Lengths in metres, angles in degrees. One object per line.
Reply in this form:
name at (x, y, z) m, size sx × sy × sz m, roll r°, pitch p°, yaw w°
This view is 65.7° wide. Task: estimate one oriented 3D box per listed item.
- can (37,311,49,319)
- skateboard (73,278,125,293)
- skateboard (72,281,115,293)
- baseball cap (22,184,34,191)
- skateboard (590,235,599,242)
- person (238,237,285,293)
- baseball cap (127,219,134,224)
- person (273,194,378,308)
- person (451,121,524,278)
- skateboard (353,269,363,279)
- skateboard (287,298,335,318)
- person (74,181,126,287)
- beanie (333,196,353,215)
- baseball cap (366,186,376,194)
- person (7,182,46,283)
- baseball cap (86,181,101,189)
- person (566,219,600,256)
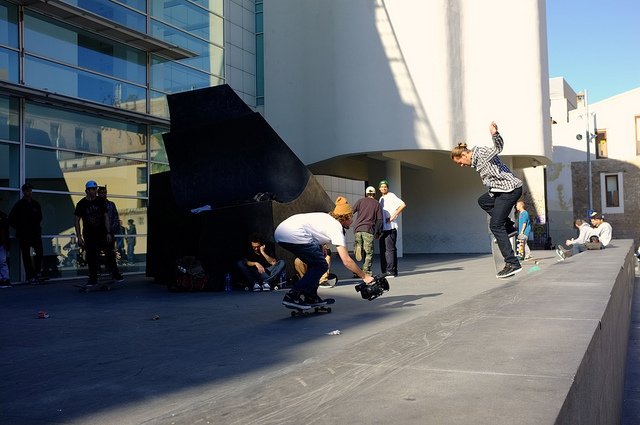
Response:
can at (-4.556, 1.711, 8.120) m, size 0.177 × 0.096 × 0.136 m, roll 5°, pitch -2°, yaw 33°
skateboard at (-5.300, 1.770, 11.891) m, size 1.118 × 0.220 × 0.367 m, roll -2°, pitch 7°, yaw -31°
skateboard at (-5.062, 1.705, 11.423) m, size 1.203 × 0.229 × 0.361 m, roll 7°, pitch -6°, yaw -38°
baseball cap at (-7.715, -0.671, 12.982) m, size 0.243 × 0.141 × 0.174 m, roll -10°, pitch 3°, yaw -13°
skateboard at (8.102, 0.766, 14.624) m, size 0.122 × 0.221 × 0.210 m, roll 11°, pitch -4°, yaw -26°
person at (-1.316, 1.149, 10.651) m, size 1.031 × 1.331 × 1.058 m, roll -4°, pitch 4°, yaw -9°
baseball cap at (-6.629, 0.314, 17.207) m, size 0.152 × 0.139 × 0.138 m, roll -6°, pitch 1°, yaw -16°
person at (0.037, 0.607, 8.015) m, size 1.495 × 1.863 × 1.143 m, roll 8°, pitch 0°, yaw -9°
person at (3.130, -0.148, 8.872) m, size 1.071 × 2.815 × 0.854 m, roll -9°, pitch 4°, yaw -37°
skateboard at (0.931, 1.635, 12.810) m, size 0.193 × 0.358 × 0.308 m, roll -4°, pitch -3°, yaw 6°
skateboard at (-0.095, 1.530, 8.041) m, size 0.227 × 0.174 × 0.894 m, roll -1°, pitch -4°, yaw 32°
person at (-5.199, 0.515, 11.407) m, size 0.763 × 2.481 × 0.788 m, roll -8°, pitch 3°, yaw -27°
beanie at (0.322, -0.114, 7.858) m, size 0.314 × 0.323 × 0.267 m, roll -5°, pitch -5°, yaw 36°
baseball cap at (1.250, -0.552, 12.390) m, size 0.230 × 0.224 × 0.180 m, roll -14°, pitch 4°, yaw 13°
person at (-8.015, 0.629, 13.529) m, size 0.781 × 2.943 × 1.487 m, roll -8°, pitch 3°, yaw -31°
baseball cap at (-5.230, -0.620, 11.259) m, size 0.245 × 0.153 × 0.177 m, roll -3°, pitch -1°, yaw 26°
person at (7.940, 0.821, 14.911) m, size 0.883 × 0.835 × 0.698 m, roll -8°, pitch 3°, yaw -30°
